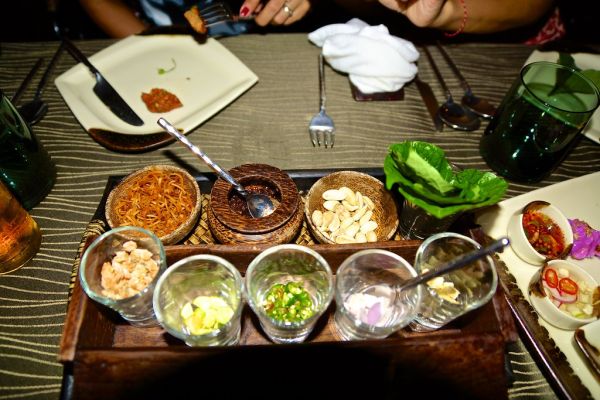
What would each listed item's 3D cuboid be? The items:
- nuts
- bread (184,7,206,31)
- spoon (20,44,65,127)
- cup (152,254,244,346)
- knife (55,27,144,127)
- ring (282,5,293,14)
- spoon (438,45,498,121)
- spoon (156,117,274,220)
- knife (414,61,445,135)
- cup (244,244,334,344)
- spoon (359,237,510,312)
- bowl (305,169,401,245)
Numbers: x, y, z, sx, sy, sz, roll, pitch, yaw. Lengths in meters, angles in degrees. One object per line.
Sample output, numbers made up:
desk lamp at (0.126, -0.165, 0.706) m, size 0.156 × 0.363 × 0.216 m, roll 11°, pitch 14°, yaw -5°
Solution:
nuts at (0.208, 0.074, 2.031) m, size 0.254 × 0.099 × 0.263 m, roll 13°, pitch 61°, yaw -3°
bread at (-0.608, -1.047, 2.592) m, size 0.093 × 0.040 × 0.162 m, roll -33°, pitch 97°, yaw 3°
spoon at (-1.410, -0.641, 2.472) m, size 0.100 × 0.069 × 0.487 m, roll 17°, pitch 68°, yaw -6°
cup at (-0.380, 0.407, 1.751) m, size 0.344 × 0.253 × 0.322 m, roll 0°, pitch 62°, yaw -1°
knife at (-1.121, -0.666, 2.460) m, size 0.118 × 0.093 × 0.850 m, roll -35°, pitch 77°, yaw -22°
ring at (-0.075, -1.198, 2.787) m, size 0.045 × 0.047 × 0.035 m, roll -5°, pitch 75°, yaw -2°
spoon at (0.949, -0.723, 2.614) m, size 0.122 × 0.091 × 0.653 m, roll -6°, pitch 49°, yaw -18°
spoon at (-0.336, -0.147, 1.946) m, size 0.622 × 0.265 × 0.129 m, roll 36°, pitch 67°, yaw 16°
knife at (0.739, -0.564, 2.493) m, size 0.060 × 0.023 × 0.440 m, roll -11°, pitch 61°, yaw 3°
cup at (-0.041, 0.371, 1.774) m, size 0.328 × 0.280 × 0.322 m, roll 0°, pitch 62°, yaw -1°
spoon at (0.524, 0.305, 1.766) m, size 0.125 × 0.480 × 0.056 m, roll 33°, pitch 46°, yaw -32°
bowl at (0.228, 0.051, 2.002) m, size 0.415 × 0.158 × 0.340 m, roll -3°, pitch 62°, yaw -3°
